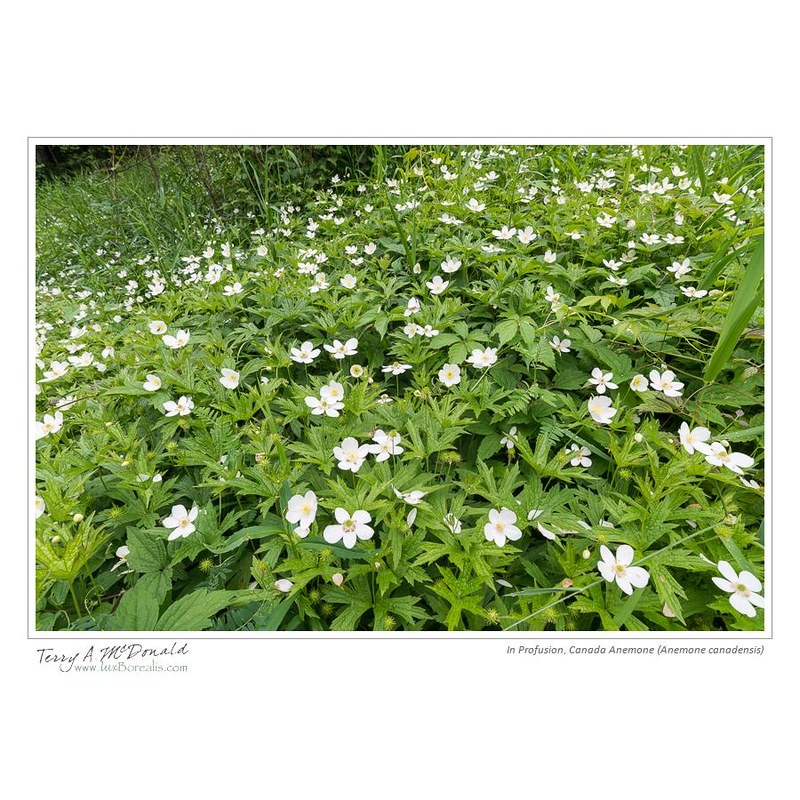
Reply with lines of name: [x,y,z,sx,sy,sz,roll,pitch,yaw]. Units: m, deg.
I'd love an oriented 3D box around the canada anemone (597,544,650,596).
canada anemone: [0.866,0.634,2.110,0.176,0.194,0.193,-2,18,15]

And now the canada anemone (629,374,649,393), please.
canada anemone: [1.247,-0.084,2.800,0.084,0.090,0.086,0,19,21]

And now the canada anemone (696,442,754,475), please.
canada anemone: [1.414,0.252,2.347,0.176,0.048,0.176,-7,38,-22]

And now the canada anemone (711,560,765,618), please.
canada anemone: [1.344,0.761,2.137,0.180,0.262,0.194,4,20,30]

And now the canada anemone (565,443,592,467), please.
canada anemone: [0.866,0.278,2.594,0.101,0.144,0.205,2,20,24]

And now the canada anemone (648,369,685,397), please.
canada anemone: [1.370,-0.082,2.789,0.179,0.147,0.156,8,23,39]

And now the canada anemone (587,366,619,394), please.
canada anemone: [1.090,-0.091,2.880,0.147,0.164,0.324,0,19,20]

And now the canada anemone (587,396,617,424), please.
canada anemone: [1.003,0.068,2.668,0.131,0.156,0.124,0,19,20]
